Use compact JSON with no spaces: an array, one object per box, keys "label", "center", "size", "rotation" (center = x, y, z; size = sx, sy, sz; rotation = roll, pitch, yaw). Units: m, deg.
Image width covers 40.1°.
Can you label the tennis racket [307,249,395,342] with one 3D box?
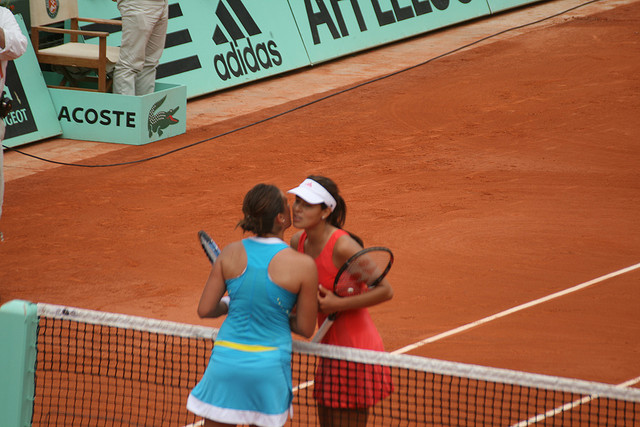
[{"label":"tennis racket","center":[0.242,0.789,9.388],"size":[0.446,1.606,0.123],"rotation":[25,28,-27]}]

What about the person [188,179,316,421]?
[{"label":"person","center":[-0.685,0.991,9.006],"size":[1.352,2.440,0.664],"rotation":[-11,13,-4]}]

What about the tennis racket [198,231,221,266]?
[{"label":"tennis racket","center":[-1.178,0.356,9.343],"size":[0.098,0.153,0.562],"rotation":[18,23,-40]}]
